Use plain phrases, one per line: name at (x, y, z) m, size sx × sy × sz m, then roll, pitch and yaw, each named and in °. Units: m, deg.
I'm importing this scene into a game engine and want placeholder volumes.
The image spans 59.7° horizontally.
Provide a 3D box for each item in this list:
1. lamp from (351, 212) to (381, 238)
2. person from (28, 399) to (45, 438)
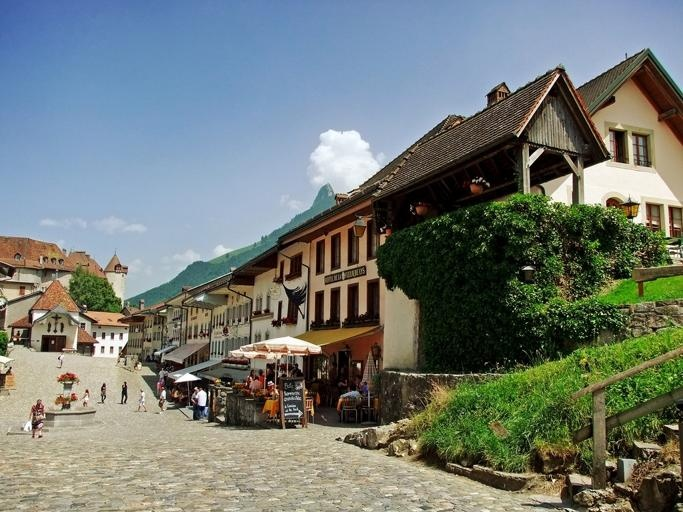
lamp at (1.127, -1.390, 26.115) m, size 0.583 × 1.184 × 0.944 m, roll 7°, pitch -13°, yaw -16°
person at (-10.907, 5.742, 21.249) m, size 0.479 × 1.398 × 2.378 m, roll 7°, pitch -18°, yaw -25°
